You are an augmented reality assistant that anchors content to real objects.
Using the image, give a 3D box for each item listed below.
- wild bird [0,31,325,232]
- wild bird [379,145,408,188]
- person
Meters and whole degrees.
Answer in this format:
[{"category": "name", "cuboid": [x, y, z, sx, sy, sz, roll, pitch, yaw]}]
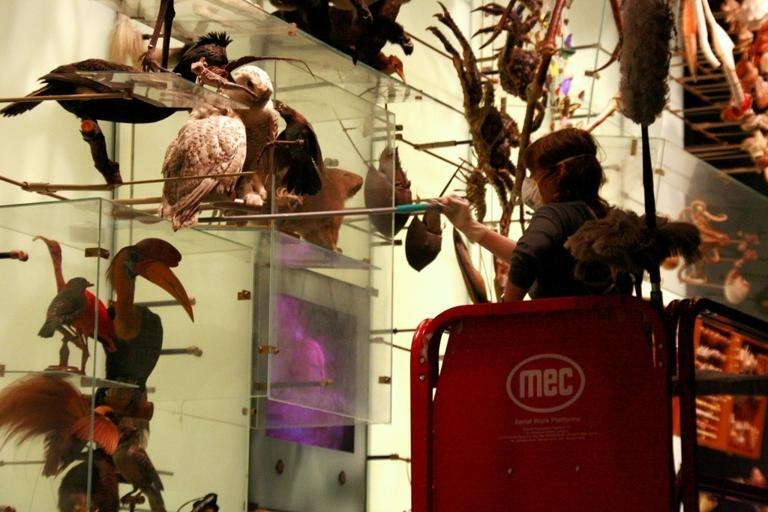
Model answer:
[{"category": "wild bird", "cuboid": [-0.817, -0.548, 4.927, 0.579, 0.902, 1.275, -11, -16, 43]}, {"category": "wild bird", "cuboid": [0.019, -0.415, 5.770, 0.051, 0.208, 0.149, -5, 26, 43]}, {"category": "person", "cuboid": [0.600, -0.149, 4.469, 0.490, 0.720, 0.588, 2, -12, -5]}]
